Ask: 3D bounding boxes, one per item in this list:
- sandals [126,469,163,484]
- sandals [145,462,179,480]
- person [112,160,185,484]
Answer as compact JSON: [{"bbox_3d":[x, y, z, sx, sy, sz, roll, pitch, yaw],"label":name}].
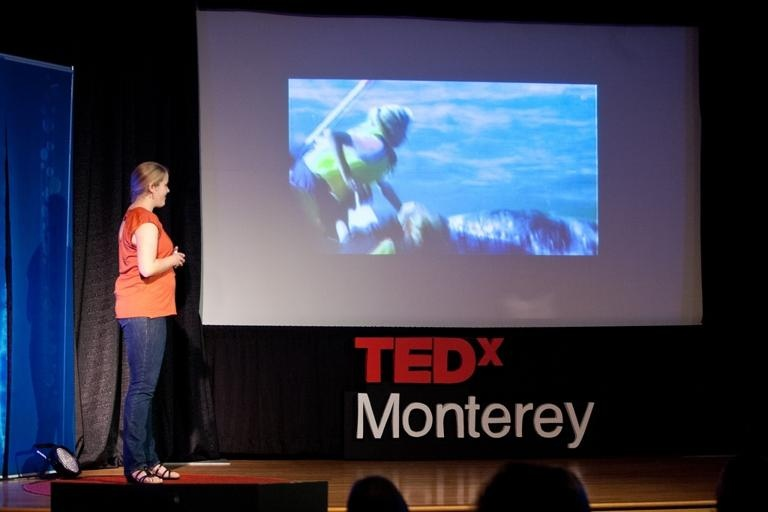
[{"bbox_3d":[-1.591,1.463,5.046,0.214,0.071,0.113,2,2,0],"label":"sandals"},{"bbox_3d":[-1.497,1.459,5.180,0.233,0.095,0.080,3,-1,-11],"label":"sandals"},{"bbox_3d":[-1.574,0.447,5.122,0.404,2.141,0.317,-2,2,-31],"label":"person"}]
